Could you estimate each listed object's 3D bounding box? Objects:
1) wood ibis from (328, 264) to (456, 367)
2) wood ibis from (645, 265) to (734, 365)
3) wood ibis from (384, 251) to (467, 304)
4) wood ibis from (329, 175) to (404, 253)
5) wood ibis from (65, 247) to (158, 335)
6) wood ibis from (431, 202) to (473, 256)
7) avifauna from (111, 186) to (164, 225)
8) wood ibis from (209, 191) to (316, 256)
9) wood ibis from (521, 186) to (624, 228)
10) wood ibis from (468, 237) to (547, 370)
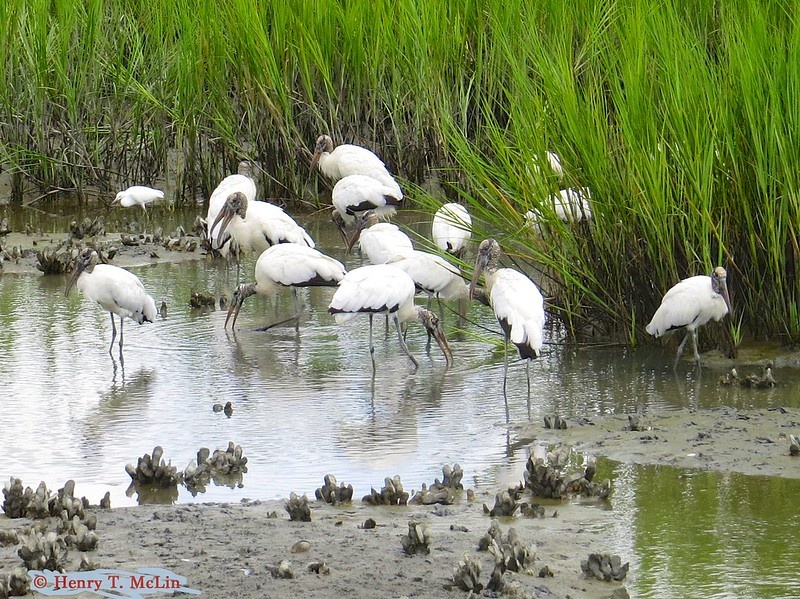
[{"bbox_3d":[-0.135,0.196,10.418,1.276,1.014,0.677,-5,17,-24],"label":"wood ibis"},{"bbox_3d":[2.961,0.188,9.822,0.842,1.109,0.539,6,16,34],"label":"wood ibis"},{"bbox_3d":[0.424,-0.217,11.394,1.155,0.562,0.603,12,1,8],"label":"wood ibis"},{"bbox_3d":[-0.578,-1.393,15.379,1.181,1.107,0.722,-11,1,10],"label":"wood ibis"},{"bbox_3d":[-3.204,0.050,10.707,0.587,1.092,1.153,1,0,40],"label":"wood ibis"},{"bbox_3d":[0.635,-0.845,12.199,0.348,0.625,0.808,-4,21,4],"label":"wood ibis"},{"bbox_3d":[-4.924,-1.719,18.031,0.842,0.618,0.343,-9,51,0],"label":"avifauna"},{"bbox_3d":[-2.027,-0.973,13.911,0.800,1.221,1.607,11,18,42],"label":"wood ibis"},{"bbox_3d":[1.887,-1.065,10.656,0.582,0.288,0.777,-18,-24,22],"label":"wood ibis"},{"bbox_3d":[1.097,0.045,9.576,0.511,0.985,1.523,0,17,-9],"label":"wood ibis"}]
